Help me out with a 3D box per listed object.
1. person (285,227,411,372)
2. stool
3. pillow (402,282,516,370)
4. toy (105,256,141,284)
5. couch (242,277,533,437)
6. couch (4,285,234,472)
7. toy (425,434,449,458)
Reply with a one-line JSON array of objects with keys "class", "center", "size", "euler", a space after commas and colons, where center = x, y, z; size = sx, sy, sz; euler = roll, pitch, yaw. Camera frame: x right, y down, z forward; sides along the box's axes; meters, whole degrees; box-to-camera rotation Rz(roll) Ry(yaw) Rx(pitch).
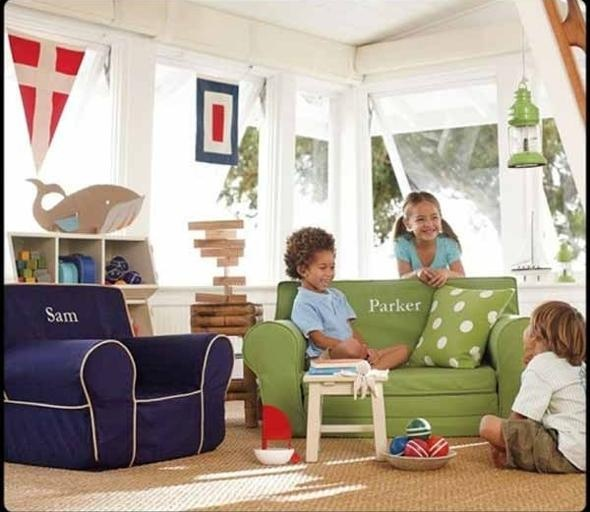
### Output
[{"class": "person", "center": [0.223, 0.237, 3.213], "size": [0.475, 0.830, 0.577], "euler": [-3, -3, -44]}, {"class": "stool", "center": [0.230, 0.680, 2.672], "size": [0.343, 0.383, 0.374], "euler": [0, -5, 3]}, {"class": "pillow", "center": [0.796, 0.288, 3.030], "size": [0.123, 0.474, 0.437], "euler": [35, -23, -28]}, {"class": "toy", "center": [-1.097, 0.091, 3.747], "size": [0.130, 0.111, 0.207], "euler": [-1, 8, -14]}, {"class": "couch", "center": [0.592, 0.591, 3.219], "size": [1.375, 0.893, 0.747], "euler": [-2, -10, 16]}, {"class": "couch", "center": [-0.800, 0.519, 2.647], "size": [1.037, 0.783, 0.586], "euler": [-1, 1, -8]}, {"class": "toy", "center": [0.577, 0.770, 2.402], "size": [0.067, 0.090, 0.074], "euler": [5, -11, -5]}]
